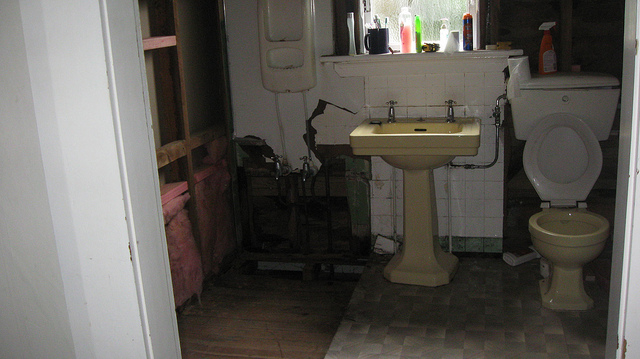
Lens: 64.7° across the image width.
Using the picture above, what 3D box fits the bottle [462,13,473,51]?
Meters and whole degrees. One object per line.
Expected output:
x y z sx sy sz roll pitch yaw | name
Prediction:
1.145 -1.139 3.919 0.068 0.269 0.100 0 19 14 | bottle

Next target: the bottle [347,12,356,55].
0.245 -1.175 4.074 0.062 0.325 0.065 -4 19 1 | bottle

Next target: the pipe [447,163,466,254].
1.098 0.246 4.198 0.135 0.754 0.215 10 24 37 | pipe

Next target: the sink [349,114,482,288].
0.774 0.156 3.994 0.904 1.199 0.655 1 19 15 | sink

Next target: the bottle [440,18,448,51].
0.975 -1.143 3.981 0.060 0.239 0.225 0 19 13 | bottle

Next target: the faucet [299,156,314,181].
-0.118 -0.092 4.391 0.105 0.214 0.069 -5 19 -1 | faucet

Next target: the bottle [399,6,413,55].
0.688 -1.193 4.042 0.097 0.337 0.203 -1 19 10 | bottle

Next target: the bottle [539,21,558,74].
1.726 -0.996 3.812 0.144 0.379 0.160 3 20 23 | bottle

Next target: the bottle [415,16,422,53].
0.774 -1.139 3.969 0.048 0.272 0.103 -1 19 11 | bottle

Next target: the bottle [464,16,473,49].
1.149 -1.143 3.921 0.066 0.235 0.049 -6 19 -2 | bottle

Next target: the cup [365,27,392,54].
0.456 -1.109 4.043 0.240 0.189 0.145 -18 26 -26 | cup

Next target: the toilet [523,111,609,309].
1.747 0.204 3.636 0.571 1.287 0.668 2 20 20 | toilet

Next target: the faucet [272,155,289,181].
-0.356 -0.099 4.426 0.128 0.224 0.104 -15 21 -29 | faucet

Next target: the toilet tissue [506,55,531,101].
1.502 -0.778 3.823 0.164 0.302 0.314 1 19 15 | toilet tissue
